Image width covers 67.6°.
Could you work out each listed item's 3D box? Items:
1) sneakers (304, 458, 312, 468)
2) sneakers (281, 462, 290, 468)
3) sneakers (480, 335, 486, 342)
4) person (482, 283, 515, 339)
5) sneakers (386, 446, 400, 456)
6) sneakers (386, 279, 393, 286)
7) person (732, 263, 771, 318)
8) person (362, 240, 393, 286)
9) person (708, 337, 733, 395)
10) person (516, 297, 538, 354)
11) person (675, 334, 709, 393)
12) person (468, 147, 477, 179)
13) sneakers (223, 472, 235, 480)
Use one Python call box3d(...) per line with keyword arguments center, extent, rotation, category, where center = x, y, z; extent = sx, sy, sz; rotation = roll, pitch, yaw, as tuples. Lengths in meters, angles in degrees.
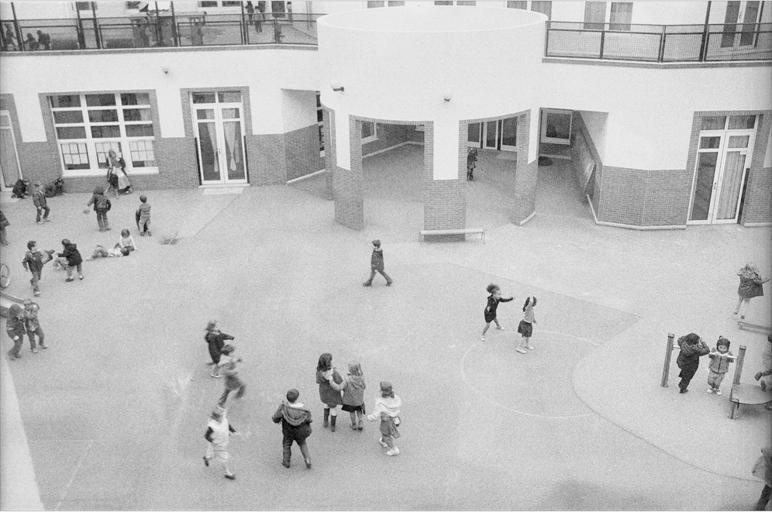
box3d(center=(-1.783, 4.710, 13.214), extent=(0.142, 0.256, 0.189), rotation=(-6, 20, -8), category="sneakers")
box3d(center=(-2.311, 4.778, 13.265), extent=(0.209, 0.085, 0.090), rotation=(29, 37, 30), category="sneakers")
box3d(center=(2.870, 2.441, 16.934), extent=(0.082, 0.087, 0.211), rotation=(-2, 14, -2), category="sneakers")
box3d(center=(3.420, 1.750, 17.533), extent=(0.954, 1.351, 0.997), rotation=(-3, 36, 10), category="person")
box3d(center=(0.130, 4.528, 13.415), extent=(0.308, 0.157, 0.168), rotation=(-2, 35, 31), category="sneakers")
box3d(center=(0.077, 0.920, 19.582), extent=(0.259, 0.197, 0.262), rotation=(7, 10, 42), category="sneakers")
box3d(center=(11.645, 1.190, 18.297), extent=(0.760, 1.600, 1.107), rotation=(-20, 31, -26), category="person")
box3d(center=(-0.298, 0.330, 20.192), extent=(1.086, 1.408, 0.739), rotation=(21, 43, 19), category="person")
box3d(center=(8.701, 2.779, 14.966), extent=(0.540, 1.544, 1.009), rotation=(9, 23, 30), category="person")
box3d(center=(4.095, 2.083, 16.670), extent=(0.646, 1.773, 0.539), rotation=(-1, 45, 12), category="person")
box3d(center=(7.956, 2.744, 14.982), extent=(0.728, 1.613, 0.726), rotation=(8, 23, 27), category="person")
box3d(center=(4.214, -4.452, 28.167), extent=(0.374, 1.364, 1.745), rotation=(2, 20, 11), category="person")
box3d(center=(-3.530, 4.969, 13.037), extent=(0.258, 0.143, 0.125), rotation=(-5, 20, -8), category="sneakers")
